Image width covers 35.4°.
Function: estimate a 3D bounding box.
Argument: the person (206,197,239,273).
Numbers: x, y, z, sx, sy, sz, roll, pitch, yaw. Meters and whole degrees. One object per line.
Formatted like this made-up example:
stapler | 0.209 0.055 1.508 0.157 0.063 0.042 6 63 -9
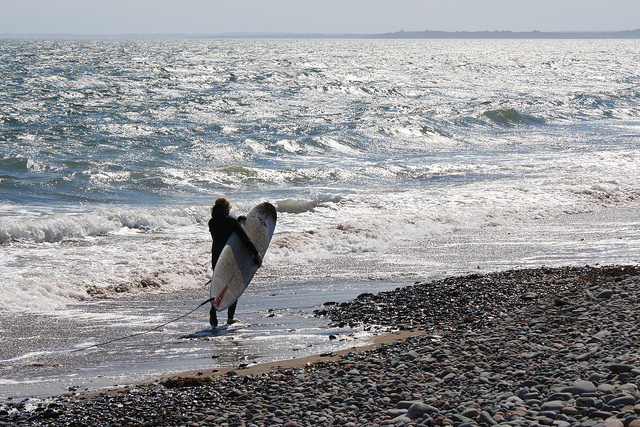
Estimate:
person | -2.996 0.682 30.732 0.892 2.242 0.760 -2 13 -4
